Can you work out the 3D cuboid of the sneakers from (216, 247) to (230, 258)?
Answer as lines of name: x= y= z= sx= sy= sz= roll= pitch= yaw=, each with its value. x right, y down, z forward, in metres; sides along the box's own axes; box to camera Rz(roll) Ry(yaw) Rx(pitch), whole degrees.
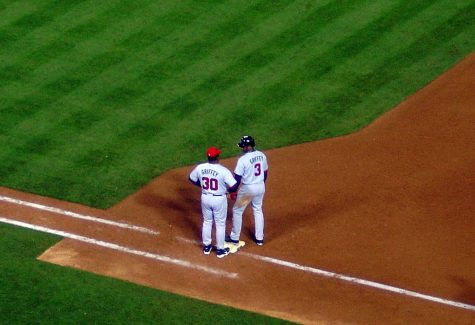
sneakers: x=-0.329 y=2.078 z=20.906 sx=0.368 sy=0.152 sz=0.249 roll=-18 pitch=-33 yaw=-18

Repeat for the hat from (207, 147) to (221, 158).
hat: x=-0.523 y=-0.204 z=20.494 sx=0.210 sy=0.282 sz=0.156 roll=32 pitch=-31 yaw=26

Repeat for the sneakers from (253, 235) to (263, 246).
sneakers: x=0.477 y=1.818 z=21.249 sx=0.141 sy=0.125 sz=0.314 roll=-7 pitch=20 yaw=-30

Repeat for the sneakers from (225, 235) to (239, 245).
sneakers: x=-0.157 y=1.810 z=21.179 sx=0.338 sy=0.148 sz=0.141 roll=19 pitch=16 yaw=19

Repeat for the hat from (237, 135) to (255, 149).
hat: x=0.194 y=-0.450 z=20.635 sx=0.349 sy=0.250 sz=0.192 roll=6 pitch=-55 yaw=15
